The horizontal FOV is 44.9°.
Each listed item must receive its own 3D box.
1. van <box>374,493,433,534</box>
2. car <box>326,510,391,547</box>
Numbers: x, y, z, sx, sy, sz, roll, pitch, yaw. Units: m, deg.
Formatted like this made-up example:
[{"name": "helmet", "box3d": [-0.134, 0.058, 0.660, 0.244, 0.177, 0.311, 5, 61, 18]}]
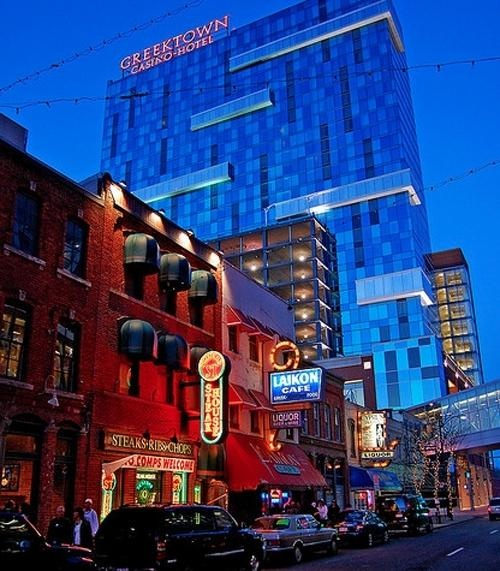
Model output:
[{"name": "van", "box3d": [8.360, 12.366, 32.912, 2.215, 1.716, 4.183, -9, -13, 25]}, {"name": "car", "box3d": [4.634, 10.345, 25.876, 1.571, 1.112, 3.628, -10, -19, 28]}]
